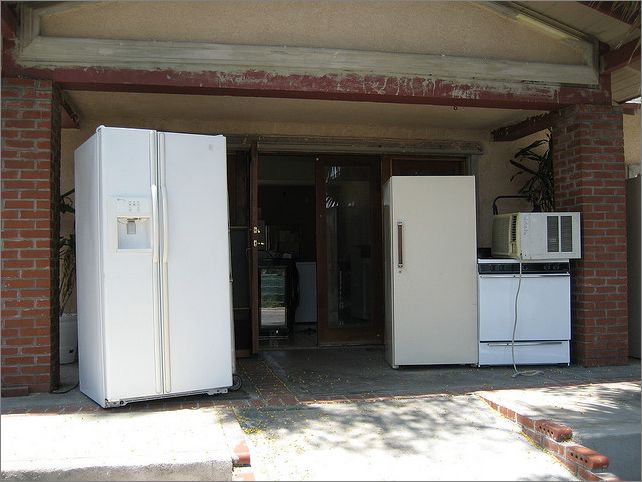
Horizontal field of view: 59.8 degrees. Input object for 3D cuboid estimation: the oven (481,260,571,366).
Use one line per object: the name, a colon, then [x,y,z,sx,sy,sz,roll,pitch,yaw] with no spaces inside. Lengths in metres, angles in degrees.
oven: [2.247,0.772,6.456,1.035,1.176,0.868,-1,3,6]

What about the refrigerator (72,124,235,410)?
refrigerator: [-1.586,0.286,5.322,1.294,2.422,1.295,0,-1,-17]

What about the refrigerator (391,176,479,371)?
refrigerator: [1.180,0.329,6.446,0.981,2.061,0.883,1,4,-5]
